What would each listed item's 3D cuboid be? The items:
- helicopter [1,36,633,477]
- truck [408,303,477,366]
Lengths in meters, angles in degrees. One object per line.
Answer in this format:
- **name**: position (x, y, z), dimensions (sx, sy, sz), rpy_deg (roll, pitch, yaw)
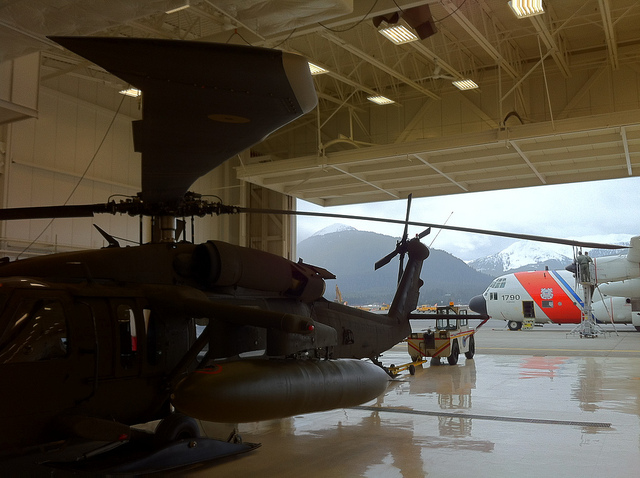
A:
- **helicopter**: position (0.206, 1.015, 8.663), dimensions (6.420, 3.428, 8.550), rpy_deg (-6, -11, 40)
- **truck**: position (4.300, 3.206, 18.105), dimensions (1.547, 1.812, 3.033), rpy_deg (-5, -6, 31)
